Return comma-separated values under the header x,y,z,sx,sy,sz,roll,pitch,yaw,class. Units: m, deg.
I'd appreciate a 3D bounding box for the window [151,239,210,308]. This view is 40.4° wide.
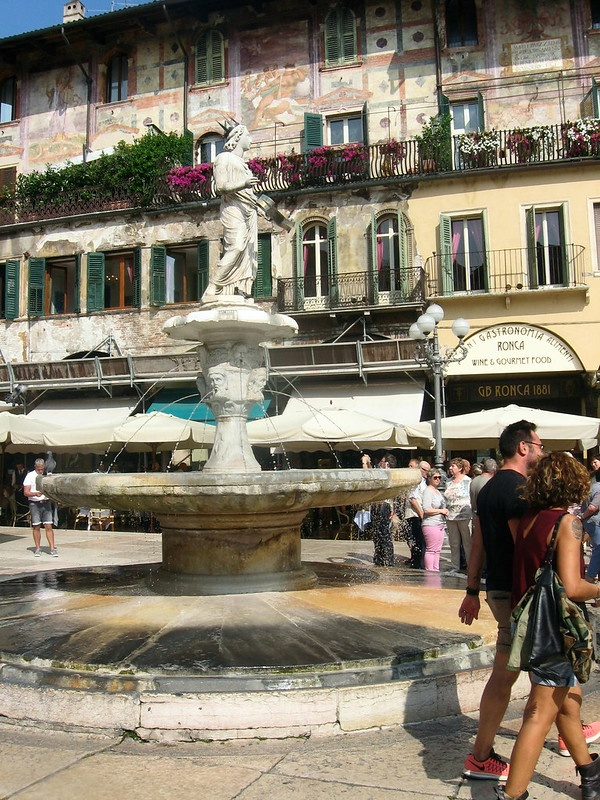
x,y,z,sx,sy,sz,roll,pitch,yaw,class
-3.719,-3.578,23.652,1.834,1.951,1.866,0,-5,-2,window

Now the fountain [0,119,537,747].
x,y,z,sx,sy,sz,roll,pitch,yaw,class
-0.399,0.315,5.659,3.088,3.210,3.104,-2,-3,43,fountain

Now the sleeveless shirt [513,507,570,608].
x,y,z,sx,sy,sz,roll,pitch,yaw,class
0.909,0.594,3.037,0.177,0.329,0.252,17,-28,8,sleeveless shirt

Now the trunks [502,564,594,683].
x,y,z,sx,sy,sz,roll,pitch,yaw,class
0.915,0.816,3.001,0.302,0.439,0.134,-4,0,23,trunks

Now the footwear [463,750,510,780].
x,y,z,sx,sy,sz,roll,pitch,yaw,class
0.740,1.456,3.249,0.221,0.094,0.075,2,-10,-10,footwear
